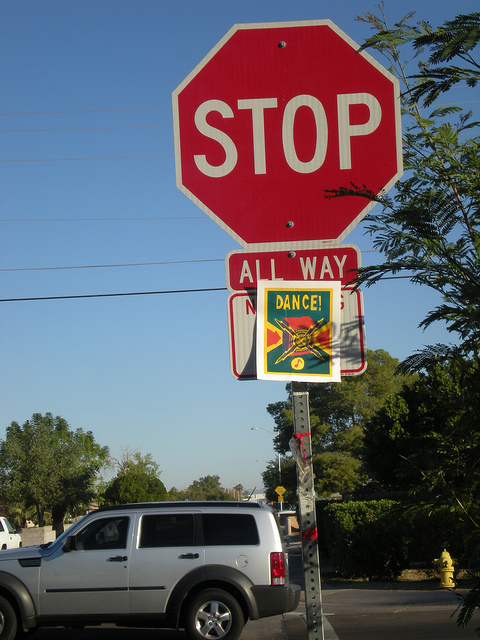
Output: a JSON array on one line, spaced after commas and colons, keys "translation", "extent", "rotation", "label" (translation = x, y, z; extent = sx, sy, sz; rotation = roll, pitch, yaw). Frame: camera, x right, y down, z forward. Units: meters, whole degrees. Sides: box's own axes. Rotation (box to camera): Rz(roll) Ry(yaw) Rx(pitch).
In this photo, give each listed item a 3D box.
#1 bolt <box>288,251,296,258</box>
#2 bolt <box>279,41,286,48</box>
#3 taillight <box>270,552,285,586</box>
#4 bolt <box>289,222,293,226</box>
[{"translation": [0.303, -0.382, 6.009], "extent": [0.034, 0.036, 0.008], "rotation": [1, -3, 1], "label": "bolt"}, {"translation": [0.254, -1.621, 6.063], "extent": [0.038, 0.041, 0.010], "rotation": [1, -1, -3], "label": "bolt"}, {"translation": [0.404, 2.696, 11.139], "extent": [0.155, 0.353, 0.130], "rotation": [0, -14, -3], "label": "taillight"}, {"translation": [0.299, -0.563, 6.042], "extent": [0.017, 0.018, 0.004], "rotation": [3, 5, -7], "label": "bolt"}]
